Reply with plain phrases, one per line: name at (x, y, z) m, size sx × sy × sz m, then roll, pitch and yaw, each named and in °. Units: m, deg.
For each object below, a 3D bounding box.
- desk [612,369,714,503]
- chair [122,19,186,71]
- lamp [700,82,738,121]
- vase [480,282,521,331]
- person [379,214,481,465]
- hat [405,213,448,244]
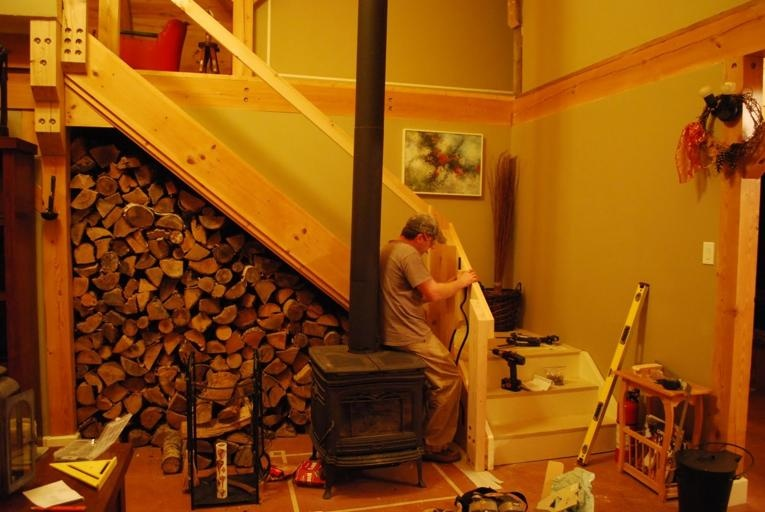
desk at (2.246, 1.438, 5.560) m, size 0.543 × 1.184 × 0.942 m, roll 1°, pitch 1°, yaw -11°
chair at (-2.121, -1.964, 6.557) m, size 0.550 × 0.506 × 0.426 m, roll 8°, pitch 20°, yaw 4°
lamp at (2.642, -1.180, 5.479) m, size 0.276 × 0.289 × 0.308 m, roll -3°, pitch -4°, yaw 28°
vase at (1.256, 0.539, 7.361) m, size 0.421 × 0.498 × 0.584 m, roll -1°, pitch -4°, yaw 10°
person at (0.374, 0.689, 5.979) m, size 0.769 × 2.087 × 0.344 m, roll -1°, pitch -3°, yaw -2°
hat at (0.375, -0.236, 6.028) m, size 0.313 × 0.187 × 0.215 m, roll 5°, pitch 7°, yaw -16°
